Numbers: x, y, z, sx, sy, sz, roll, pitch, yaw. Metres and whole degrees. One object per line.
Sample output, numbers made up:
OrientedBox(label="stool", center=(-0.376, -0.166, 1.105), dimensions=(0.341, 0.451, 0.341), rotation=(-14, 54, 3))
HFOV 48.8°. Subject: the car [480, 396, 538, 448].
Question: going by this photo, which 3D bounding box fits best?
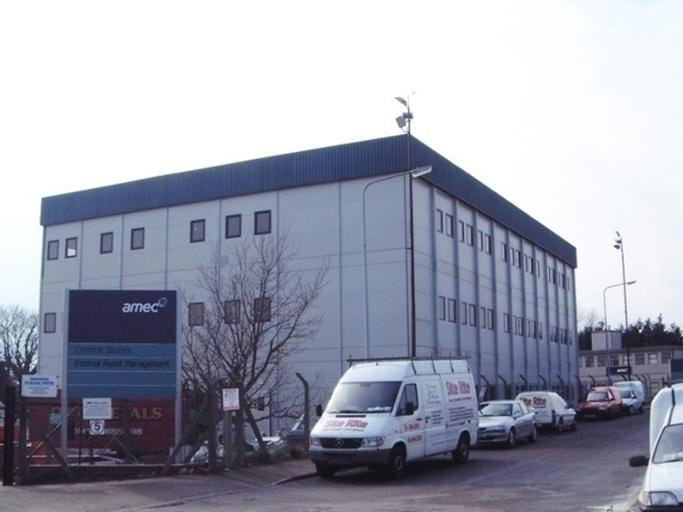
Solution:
OrientedBox(label="car", center=(6.490, 6.689, 29.878), dimensions=(1.645, 1.825, 3.843), rotation=(-9, -14, 23))
